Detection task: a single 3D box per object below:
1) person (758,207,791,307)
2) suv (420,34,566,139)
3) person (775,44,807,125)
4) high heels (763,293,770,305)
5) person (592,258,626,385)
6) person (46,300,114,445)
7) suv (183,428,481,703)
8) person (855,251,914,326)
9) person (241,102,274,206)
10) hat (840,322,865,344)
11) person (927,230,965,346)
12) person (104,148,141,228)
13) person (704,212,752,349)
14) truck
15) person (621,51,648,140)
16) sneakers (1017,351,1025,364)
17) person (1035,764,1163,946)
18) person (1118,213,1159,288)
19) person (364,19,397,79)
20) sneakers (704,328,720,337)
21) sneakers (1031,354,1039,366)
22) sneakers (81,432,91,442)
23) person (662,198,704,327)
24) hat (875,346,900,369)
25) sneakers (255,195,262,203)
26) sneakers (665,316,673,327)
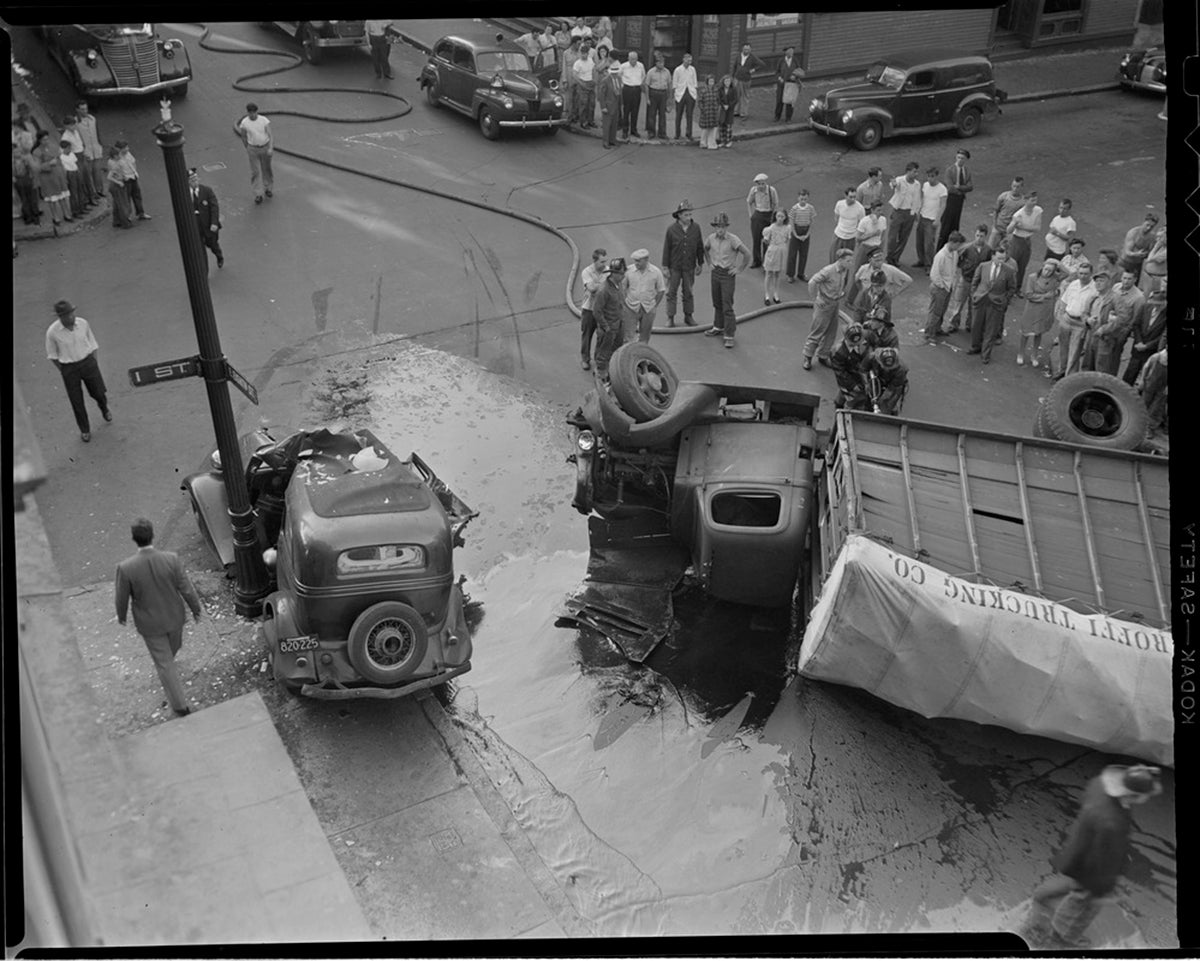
[{"bbox_3d":[2.848,-3.706,16.207,0.441,1.435,1.120,5,25,9],"label":"person"},{"bbox_3d":[-2.441,-8.611,22.084,1.809,1.575,3.345,-22,55,-32],"label":"suv"},{"bbox_3d":[4.201,-8.901,22.320,0.515,1.555,1.244,4,25,8],"label":"person"},{"bbox_3d":[2.694,-2.983,16.190,0.100,0.094,0.205,-12,3,-3],"label":"high heels"},{"bbox_3d":[0.115,-2.179,13.232,0.518,1.971,0.713,11,56,5],"label":"person"},{"bbox_3d":[-6.572,-1.483,12.507,0.537,1.773,0.969,-12,28,-26],"label":"person"},{"bbox_3d":[-2.472,0.806,9.378,1.710,2.122,2.931,-14,29,-29],"label":"suv"},{"bbox_3d":[4.017,-2.873,14.273,0.834,1.192,0.396,29,55,36],"label":"person"},{"bbox_3d":[-6.277,-6.065,18.249,0.520,1.773,1.544,-7,26,-17],"label":"person"},{"bbox_3d":[3.212,-1.915,12.719,0.193,0.168,0.267,-2,0,5],"label":"hat"},{"bbox_3d":[5.194,-2.974,15.115,0.435,1.722,0.951,9,26,17],"label":"person"},{"bbox_3d":[-8.355,-5.179,17.422,0.474,1.437,0.908,-14,28,-28],"label":"person"},{"bbox_3d":[1.837,-3.028,14.889,0.602,1.922,0.755,3,25,5],"label":"person"},{"bbox_3d":[2.345,1.191,10.092,5.336,2.070,3.510,6,56,11],"label":"truck"},{"bbox_3d":[0.699,-8.544,21.921,0.509,1.789,0.932,2,25,2],"label":"person"},{"bbox_3d":[6.331,-1.862,15.049,0.063,0.078,0.196,1,39,15],"label":"sneakers"},{"bbox_3d":[3.693,2.858,7.369,0.477,1.522,0.596,-1,54,4],"label":"person"},{"bbox_3d":[8.240,-3.440,15.404,0.381,1.410,0.392,17,41,22],"label":"person"},{"bbox_3d":[-5.285,-10.336,23.778,0.568,1.294,1.136,-5,25,-11],"label":"person"},{"bbox_3d":[1.724,-2.290,15.282,0.204,0.086,0.111,-2,53,-1],"label":"sneakers"},{"bbox_3d":[6.547,-1.818,15.017,0.065,0.089,0.229,9,57,14],"label":"sneakers"},{"bbox_3d":[-6.468,-0.552,12.528,0.068,0.123,0.113,-3,-1,-20],"label":"sneakers"},{"bbox_3d":[1.234,-3.318,15.140,0.588,1.895,0.497,-19,31,-37],"label":"person"},{"bbox_3d":[3.579,-1.553,12.480,0.198,0.238,0.280,6,19,3],"label":"hat"},{"bbox_3d":[-6.376,-5.297,18.565,0.115,0.140,0.129,2,6,-3],"label":"sneakers"},{"bbox_3d":[1.059,-2.483,15.417,0.070,0.121,0.122,-1,50,1],"label":"sneakers"}]
